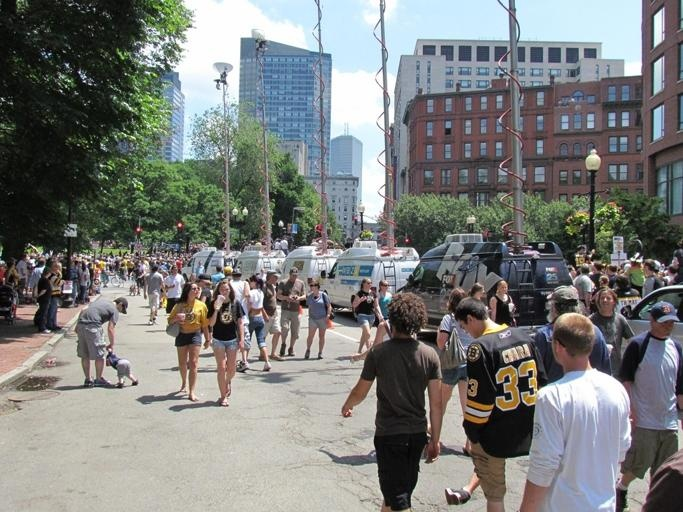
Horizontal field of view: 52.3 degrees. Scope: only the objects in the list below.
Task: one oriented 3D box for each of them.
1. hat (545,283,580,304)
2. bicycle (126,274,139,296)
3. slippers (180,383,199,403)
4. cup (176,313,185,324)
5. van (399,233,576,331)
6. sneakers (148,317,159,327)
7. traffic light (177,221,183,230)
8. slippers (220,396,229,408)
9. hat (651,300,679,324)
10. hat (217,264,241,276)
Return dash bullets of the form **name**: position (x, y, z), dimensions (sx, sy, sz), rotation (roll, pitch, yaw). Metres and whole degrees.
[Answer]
- **hat**: position (2.761, 0.480, 8.656), dimensions (0.357, 0.200, 0.360), rotation (1, 5, 18)
- **bicycle**: position (-11.481, 1.610, 38.163), dimensions (0.865, 1.175, 1.885), rotation (3, 4, -15)
- **slippers**: position (-2.734, 2.426, 12.246), dimensions (0.186, 0.300, 0.632), rotation (2, -20, -36)
- **cup**: position (-2.774, 1.089, 11.950), dimensions (0.127, 0.148, 0.098), rotation (-2, 9, -34)
- **van**: position (3.420, 0.578, 17.574), dimensions (1.954, 2.001, 3.713), rotation (2, 0, -27)
- **sneakers**: position (-6.086, 2.152, 22.383), dimensions (0.259, 0.102, 0.260), rotation (6, 16, 44)
- **traffic light**: position (-8.972, -1.641, 38.314), dimensions (0.304, 0.579, 0.389), rotation (4, 6, 3)
- **slippers**: position (-1.974, 2.502, 11.793), dimensions (0.080, 0.144, 0.234), rotation (19, -25, -28)
- **hat**: position (3.741, 0.641, 8.147), dimensions (0.254, 0.233, 0.370), rotation (3, -11, 7)
- **hat**: position (-3.643, 0.470, 22.497), dimensions (0.410, 0.243, 0.285), rotation (-15, 6, -7)
